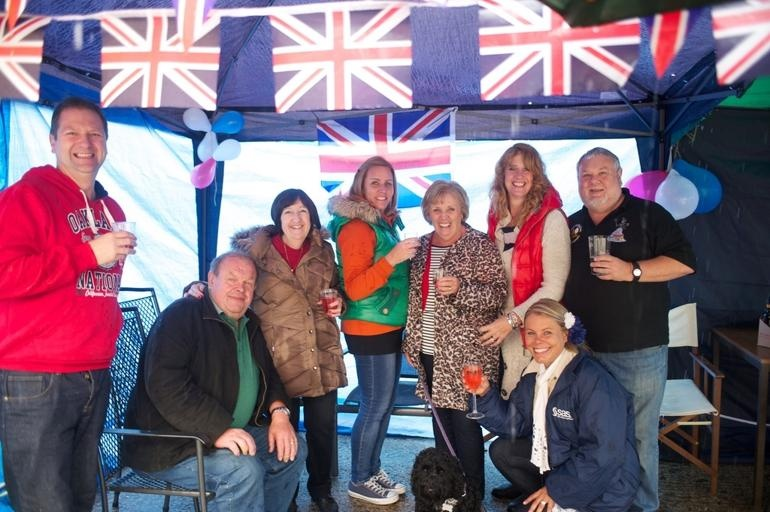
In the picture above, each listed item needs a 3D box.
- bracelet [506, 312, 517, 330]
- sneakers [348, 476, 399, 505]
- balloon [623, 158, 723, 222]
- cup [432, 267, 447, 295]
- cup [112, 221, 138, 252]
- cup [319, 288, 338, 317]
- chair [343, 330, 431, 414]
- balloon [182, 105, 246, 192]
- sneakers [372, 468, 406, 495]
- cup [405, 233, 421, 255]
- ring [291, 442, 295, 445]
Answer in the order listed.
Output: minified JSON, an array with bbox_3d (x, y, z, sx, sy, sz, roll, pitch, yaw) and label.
[{"bbox_3d":[0.856,0.439,4.475,0.076,0.090,0.024,-18,2,1],"label":"bracelet"},{"bbox_3d":[-0.092,1.786,5.052,0.408,0.155,0.154,1,2,16],"label":"sneakers"},{"bbox_3d":[2.425,-0.551,5.909,0.605,0.464,0.891,-14,9,-23],"label":"balloon"},{"bbox_3d":[0.388,0.168,4.425,0.119,0.158,0.066,1,-9,-16],"label":"cup"},{"bbox_3d":[-1.463,-0.115,3.750,0.180,0.179,0.171,1,10,0],"label":"cup"},{"bbox_3d":[-0.394,0.324,4.661,0.129,0.181,0.171,-1,-9,-6],"label":"cup"},{"bbox_3d":[0.134,1.084,6.108,0.691,1.075,0.808,1,-5,0],"label":"chair"},{"bbox_3d":[-1.577,-1.000,5.879,0.515,0.711,0.406,5,-11,-34],"label":"balloon"},{"bbox_3d":[-0.011,1.730,5.092,0.347,0.134,0.118,0,1,38],"label":"sneakers"},{"bbox_3d":[0.210,-0.093,4.560,0.068,0.149,0.145,-7,-11,31],"label":"cup"},{"bbox_3d":[-0.602,1.216,4.289,0.024,0.019,0.006,1,-6,-18],"label":"ring"}]
